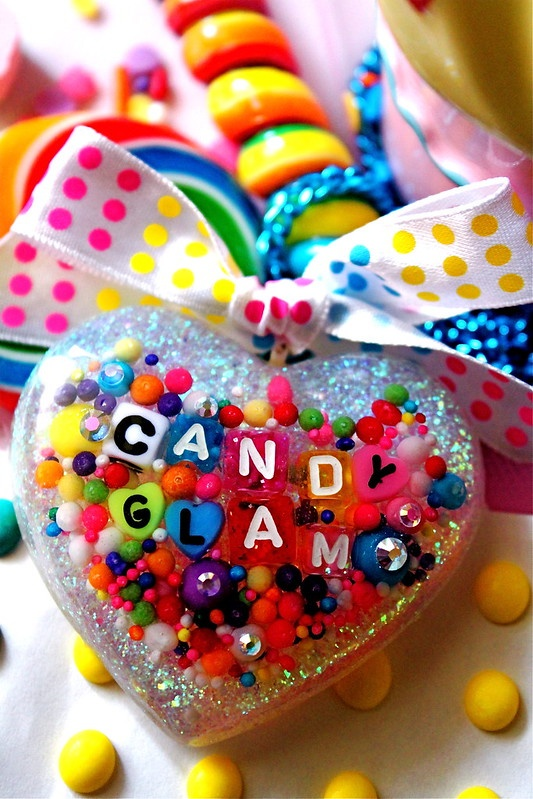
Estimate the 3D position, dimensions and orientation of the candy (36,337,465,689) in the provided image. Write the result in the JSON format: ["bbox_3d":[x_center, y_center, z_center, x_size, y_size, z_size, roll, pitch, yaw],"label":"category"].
[{"bbox_3d":[-0.018,0.119,0.794,0.471,0.278,0.324,0,43,11],"label":"candy"}]
